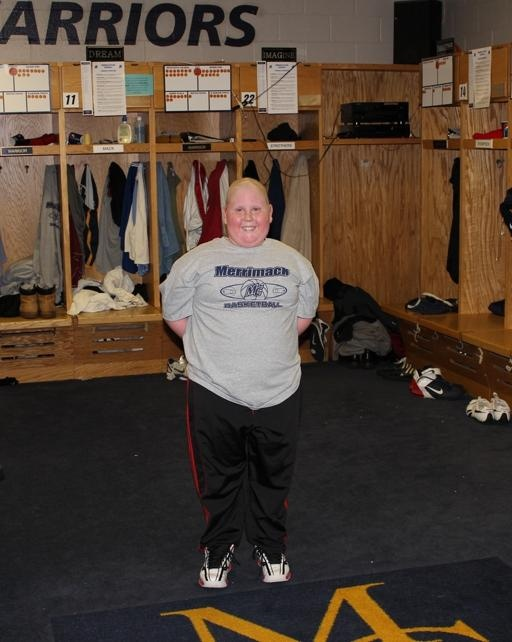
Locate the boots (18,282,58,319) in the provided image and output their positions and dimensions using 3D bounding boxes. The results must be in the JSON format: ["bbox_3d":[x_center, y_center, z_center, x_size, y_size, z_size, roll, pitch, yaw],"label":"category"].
[{"bbox_3d":[-1.979,-0.171,5.046,0.327,0.294,0.197,-1,1,-14],"label":"boots"}]

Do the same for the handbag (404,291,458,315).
[{"bbox_3d":[1.662,-0.144,5.202,0.328,0.118,0.244,2,4,-19],"label":"handbag"}]

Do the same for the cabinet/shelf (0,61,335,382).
[{"bbox_3d":[-0.898,-0.852,4.460,2.921,2.753,0.986,-2,8,-11],"label":"cabinet/shelf"}]

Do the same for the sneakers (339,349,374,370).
[{"bbox_3d":[0.964,0.369,5.337,0.224,0.087,0.180,-3,9,-17],"label":"sneakers"}]

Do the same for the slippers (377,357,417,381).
[{"bbox_3d":[1.276,0.448,5.047,0.250,0.089,0.181,-12,20,-21],"label":"slippers"}]

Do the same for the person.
[{"bbox_3d":[-0.030,0.193,1.815,0.468,1.261,0.410,-1,3,-10],"label":"person"}]

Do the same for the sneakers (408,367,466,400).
[{"bbox_3d":[1.377,0.473,4.380,0.219,0.125,0.292,-7,8,-25],"label":"sneakers"}]

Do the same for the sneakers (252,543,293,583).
[{"bbox_3d":[0.062,0.830,1.959,0.065,0.075,0.167,-1,15,-4],"label":"sneakers"}]

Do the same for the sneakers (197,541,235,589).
[{"bbox_3d":[-0.140,0.848,1.942,0.089,0.093,0.226,2,-1,0],"label":"sneakers"}]
